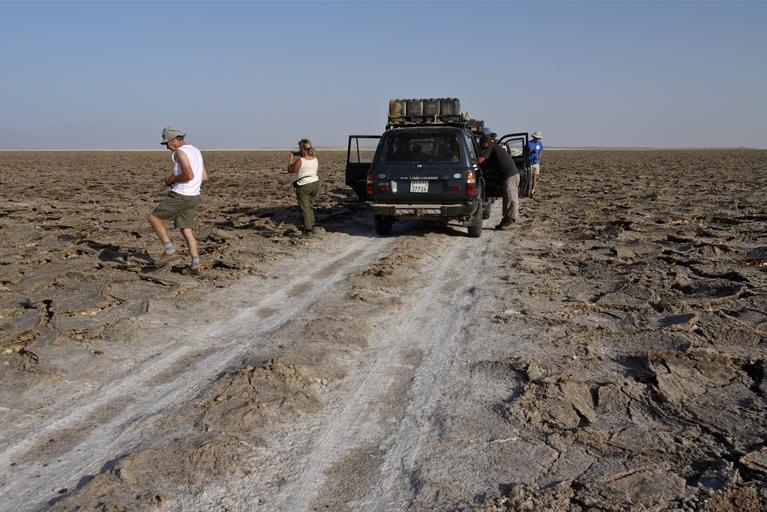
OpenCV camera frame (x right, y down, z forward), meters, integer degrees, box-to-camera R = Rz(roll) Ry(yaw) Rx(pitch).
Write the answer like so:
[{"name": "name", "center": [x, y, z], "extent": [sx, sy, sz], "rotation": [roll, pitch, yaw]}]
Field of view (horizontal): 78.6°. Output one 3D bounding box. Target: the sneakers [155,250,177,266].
[{"name": "sneakers", "center": [-3.716, 0.040, 7.961], "extent": [0.466, 0.165, 0.163], "rotation": [-20, 13, -25]}]

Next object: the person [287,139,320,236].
[{"name": "person", "center": [-1.777, -1.479, 10.289], "extent": [0.491, 2.077, 0.880], "rotation": [12, 25, 32]}]

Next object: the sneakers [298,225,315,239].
[{"name": "sneakers", "center": [-1.750, -0.536, 10.618], "extent": [0.210, 0.200, 0.543], "rotation": [-1, 7, -3]}]
